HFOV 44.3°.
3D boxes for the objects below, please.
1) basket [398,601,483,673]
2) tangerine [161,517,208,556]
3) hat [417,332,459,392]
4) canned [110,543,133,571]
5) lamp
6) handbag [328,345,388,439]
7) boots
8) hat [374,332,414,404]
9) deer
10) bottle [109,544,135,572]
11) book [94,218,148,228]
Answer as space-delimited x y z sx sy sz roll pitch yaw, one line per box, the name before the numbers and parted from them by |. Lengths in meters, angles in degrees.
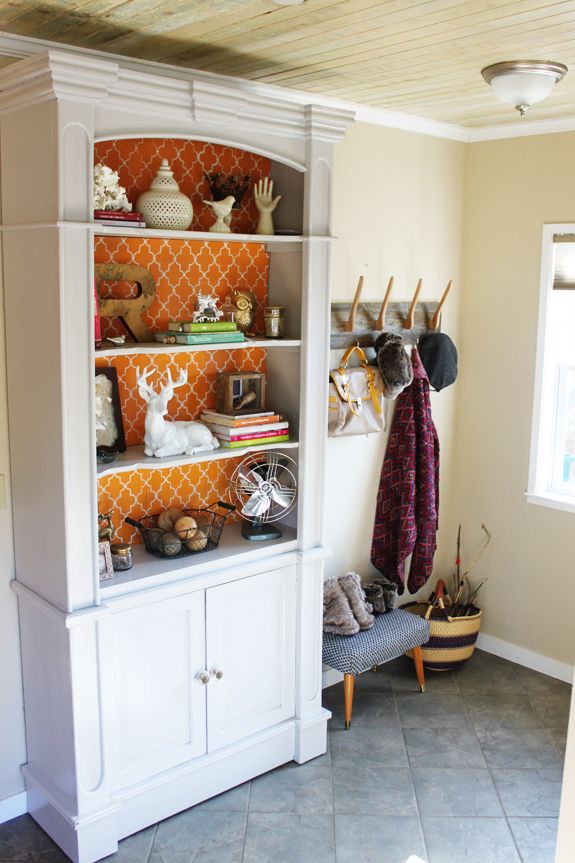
basket | 0.752 0.999 3.475 0.326 0.240 0.324 -3 8 -23
tangerine | -0.353 0.352 2.391 0.123 0.122 0.052 8 0 -25
hat | 0.740 -0.333 3.405 0.212 0.268 0.102 -18 16 -42
canned | -0.527 0.398 2.240 0.073 0.070 0.073 15 20 40
lamp | 0.778 -1.120 2.289 0.291 0.123 0.172 1 7 -2
handbag | 0.296 -0.178 3.035 0.227 0.438 0.370 5 8 44
boots | 0.306 0.739 3.076 0.214 0.133 0.283 7 11 38
hat | 0.463 -0.292 3.086 0.180 0.265 0.096 -15 13 -13
deer | -0.372 -0.083 2.349 0.272 0.309 0.171 -14 24 -40
bottle | -0.533 0.401 2.293 0.073 0.072 0.076 12 17 40
book | -0.481 -0.602 2.029 0.083 0.019 0.086 3 9 9
